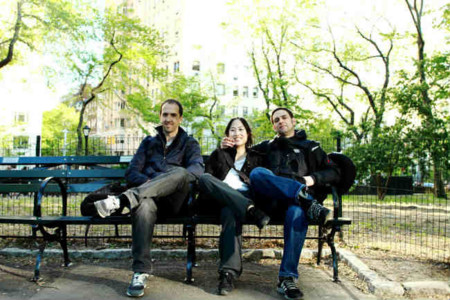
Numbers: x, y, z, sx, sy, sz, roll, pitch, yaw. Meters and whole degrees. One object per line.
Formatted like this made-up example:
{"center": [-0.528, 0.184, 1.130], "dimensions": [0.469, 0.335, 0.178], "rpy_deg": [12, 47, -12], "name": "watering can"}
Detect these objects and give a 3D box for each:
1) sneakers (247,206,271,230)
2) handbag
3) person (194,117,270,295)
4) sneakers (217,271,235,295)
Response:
{"center": [0.578, 1.204, 7.567], "dimensions": [0.263, 0.226, 0.525], "rpy_deg": [32, -3, -27], "name": "sneakers"}
{"center": [-2.248, 0.917, 7.956], "dimensions": [0.910, 0.302, 0.408], "rpy_deg": [-30, 7, -34], "name": "handbag"}
{"center": [0.109, 0.951, 8.016], "dimensions": [1.252, 3.305, 1.015], "rpy_deg": [1, -3, -2], "name": "person"}
{"center": [0.017, 2.379, 7.576], "dimensions": [0.295, 0.414, 0.151], "rpy_deg": [1, -3, -8], "name": "sneakers"}
